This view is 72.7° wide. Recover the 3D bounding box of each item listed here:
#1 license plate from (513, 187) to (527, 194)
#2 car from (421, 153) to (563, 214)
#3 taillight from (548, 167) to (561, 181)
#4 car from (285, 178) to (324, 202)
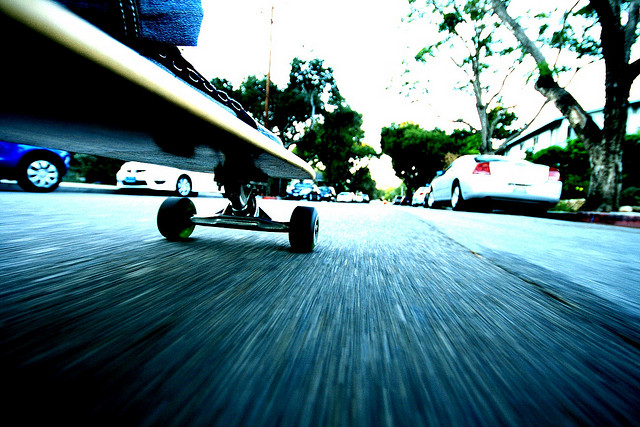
[{"bbox_3d":[3.810,-0.420,8.224,0.240,0.134,0.043,5,5,12],"label":"license plate"},{"bbox_3d":[3.593,-0.628,9.705,1.287,0.993,3.128,2,3,-1],"label":"car"},{"bbox_3d":[4.474,-0.742,8.247,0.192,0.222,0.396,7,6,29],"label":"taillight"},{"bbox_3d":[-0.853,-1.262,24.649,1.415,0.737,2.635,3,8,8],"label":"car"}]
